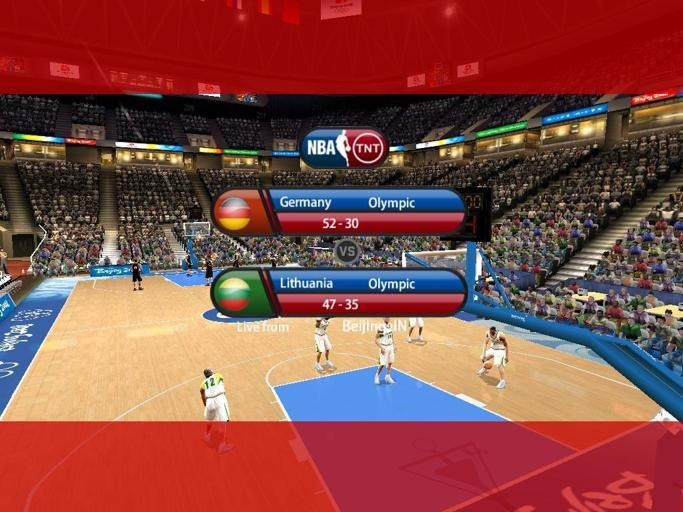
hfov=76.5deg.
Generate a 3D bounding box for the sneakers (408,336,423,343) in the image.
[{"bbox_3d":[2.296,2.630,13.564,0.187,0.212,0.550,3,-16,-17],"label":"sneakers"}]
